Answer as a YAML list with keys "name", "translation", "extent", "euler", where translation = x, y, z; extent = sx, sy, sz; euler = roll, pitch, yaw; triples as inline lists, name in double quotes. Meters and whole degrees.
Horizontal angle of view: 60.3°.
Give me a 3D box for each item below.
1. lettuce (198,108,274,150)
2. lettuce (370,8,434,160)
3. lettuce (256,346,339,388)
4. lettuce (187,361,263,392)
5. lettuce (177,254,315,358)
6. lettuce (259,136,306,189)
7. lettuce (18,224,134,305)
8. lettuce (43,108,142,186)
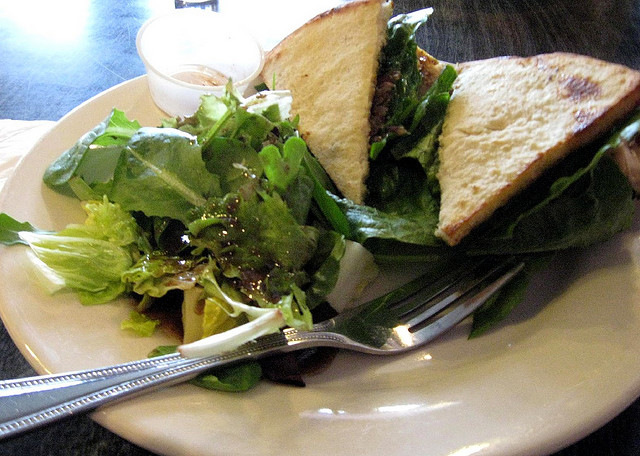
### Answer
- name: "lettuce"
  translation: [-0.171, -0.240, 1.338]
  extent: [0.098, 0.083, 0.028]
  euler: [-20, 59, 27]
- name: "lettuce"
  translation: [0.263, -0.394, 1.623]
  extent: [0.305, 0.124, 0.359]
  euler: [-4, 65, 20]
- name: "lettuce"
  translation: [-0.040, 0.290, 1.210]
  extent: [0.083, 0.124, 0.025]
  euler: [25, 113, 32]
- name: "lettuce"
  translation: [-0.179, 0.309, 1.133]
  extent: [0.103, 0.024, 0.068]
  euler: [8, 37, -8]
- name: "lettuce"
  translation: [-0.177, 0.176, 1.195]
  extent: [0.265, 0.241, 0.063]
  euler: [44, 110, 40]
- name: "lettuce"
  translation: [-0.086, -0.154, 1.278]
  extent: [0.102, 0.050, 0.120]
  euler: [-8, 35, 1]
- name: "lettuce"
  translation: [-0.561, 0.097, 1.267]
  extent: [0.213, 0.075, 0.174]
  euler: [24, 54, -17]
- name: "lettuce"
  translation: [-0.541, -0.188, 1.394]
  extent: [0.275, 0.065, 0.148]
  euler: [-35, 54, -8]
